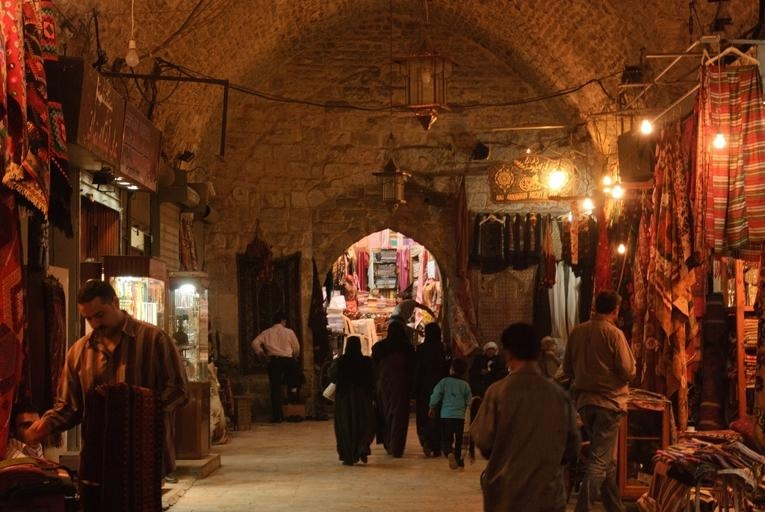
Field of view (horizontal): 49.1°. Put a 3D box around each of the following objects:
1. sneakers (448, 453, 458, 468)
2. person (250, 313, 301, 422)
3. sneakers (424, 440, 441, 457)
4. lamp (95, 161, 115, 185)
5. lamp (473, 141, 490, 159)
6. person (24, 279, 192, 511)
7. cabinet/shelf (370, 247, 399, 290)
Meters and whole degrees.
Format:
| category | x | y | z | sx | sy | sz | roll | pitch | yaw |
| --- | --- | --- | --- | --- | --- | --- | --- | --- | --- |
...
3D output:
| category | x | y | z | sx | sy | sz | roll | pitch | yaw |
| --- | --- | --- | --- | --- | --- | --- | --- | --- | --- |
| sneakers | 0.901 | 2.632 | 10.730 | 0.084 | 0.182 | 0.076 | -6 | -13 | 2 |
| person | -1.994 | 2.120 | 15.811 | 0.817 | 2.011 | 0.335 | -3 | -3 | -13 |
| sneakers | 0.699 | 2.696 | 11.843 | 0.279 | 0.302 | 0.345 | -4 | -4 | 2 |
| lamp | -2.964 | -0.886 | 8.922 | 0.158 | 0.233 | 0.242 | -1 | 0 | -1 |
| lamp | 1.975 | -2.094 | 16.690 | 0.324 | 0.344 | 0.344 | 1 | -2 | 4 |
| person | -2.090 | 1.371 | 6.266 | 1.183 | 2.274 | 0.647 | -4 | 0 | -31 |
| cabinet/shelf | 0.202 | 0.358 | 24.036 | 0.862 | 1.121 | 0.830 | 0 | 3 | 23 |
